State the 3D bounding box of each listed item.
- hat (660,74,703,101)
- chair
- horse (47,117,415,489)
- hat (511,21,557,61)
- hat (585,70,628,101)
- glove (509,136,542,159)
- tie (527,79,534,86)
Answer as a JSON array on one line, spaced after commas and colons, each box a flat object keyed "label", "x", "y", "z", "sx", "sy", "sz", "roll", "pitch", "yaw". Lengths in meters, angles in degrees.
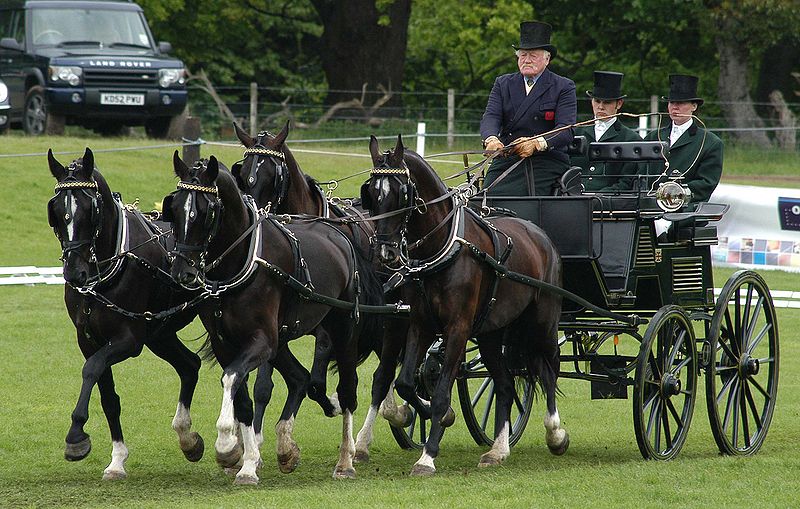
[{"label": "hat", "x": 3.851, "y": -2.223, "z": 23.854, "sx": 0.400, "sy": 0.228, "sz": 0.419, "roll": 2, "pitch": 2, "yaw": 42}, {"label": "chair", "x": 1.644, "y": -1.039, "z": 22.966, "sx": 1.170, "sy": 0.644, "sz": 0.433, "roll": -5, "pitch": 2, "yaw": 7}, {"label": "horse", "x": -2.090, "y": 1.049, "z": 22.458, "sx": 3.887, "sy": 3.255, "sz": 4.598, "roll": -5, "pitch": -15, "yaw": 23}, {"label": "hat", "x": 1.776, "y": -2.815, "z": 23.152, "sx": 0.653, "sy": 0.327, "sz": 0.742, "roll": 9, "pitch": 5, "yaw": 32}, {"label": "hat", "x": 2.809, "y": -2.307, "z": 24.194, "sx": 0.482, "sy": 0.266, "sz": 0.484, "roll": 6, "pitch": 17, "yaw": 11}, {"label": "glove", "x": 1.580, "y": -1.371, "z": 22.599, "sx": 0.258, "sy": 0.157, "sz": 0.326, "roll": -4, "pitch": 2, "yaw": 17}, {"label": "tie", "x": 1.677, "y": -2.238, "z": 23.111, "sx": 0.106, "sy": 0.093, "sz": 0.024, "roll": -5, "pitch": 1, "yaw": 15}]
